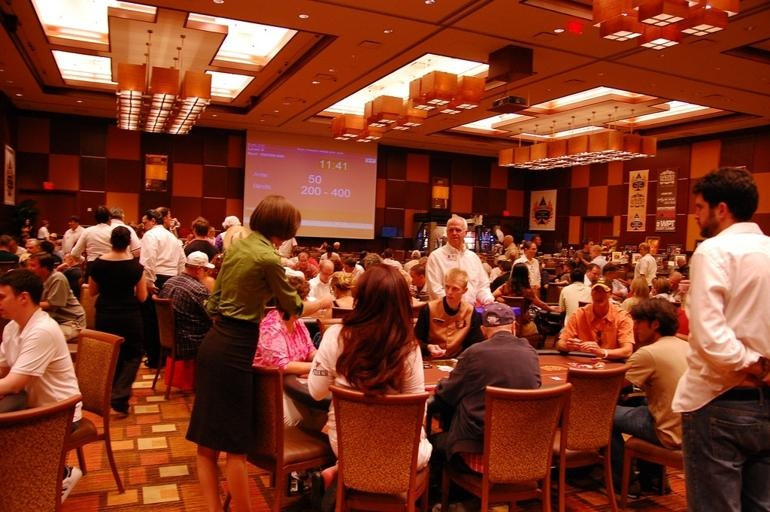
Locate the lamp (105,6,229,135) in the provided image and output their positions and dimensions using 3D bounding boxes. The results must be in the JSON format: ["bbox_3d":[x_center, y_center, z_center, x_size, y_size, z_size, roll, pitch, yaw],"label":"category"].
[{"bbox_3d":[-3.844,-3.239,9.425,1.382,1.012,2.206,3,-12,-19],"label":"lamp"}]

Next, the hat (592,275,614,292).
[{"bbox_3d":[2.072,0.253,5.200,0.175,0.127,0.258,5,-13,33],"label":"hat"}]

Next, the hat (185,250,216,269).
[{"bbox_3d":[-2.019,0.041,5.974,0.290,0.148,0.195,2,7,-36],"label":"hat"}]

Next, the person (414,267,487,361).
[{"bbox_3d":[0.572,0.557,4.781,0.655,0.826,0.576,3,14,4],"label":"person"}]

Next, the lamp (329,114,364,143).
[{"bbox_3d":[-0.782,-2.822,12.129,0.614,0.448,0.650,-1,0,41],"label":"lamp"}]

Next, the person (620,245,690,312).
[{"bbox_3d":[4.447,0.337,9.015,1.116,1.073,1.118,-2,0,-40],"label":"person"}]

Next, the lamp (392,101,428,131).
[{"bbox_3d":[0.594,-2.724,10.889,0.610,0.428,0.646,-2,-5,-33],"label":"lamp"}]

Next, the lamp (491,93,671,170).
[{"bbox_3d":[4.407,-2.768,12.762,2.727,1.174,3.332,4,3,-13],"label":"lamp"}]

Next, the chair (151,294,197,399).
[{"bbox_3d":[-2.273,1.016,6.096,0.613,0.873,0.588,8,-5,-29],"label":"chair"}]

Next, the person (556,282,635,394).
[{"bbox_3d":[2.031,0.643,5.196,0.788,0.746,0.733,-2,3,-44],"label":"person"}]

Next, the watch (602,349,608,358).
[{"bbox_3d":[1.950,0.868,4.835,0.059,0.029,0.076,1,16,24],"label":"watch"}]

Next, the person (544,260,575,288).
[{"bbox_3d":[3.619,0.397,11.332,0.334,0.400,0.719,-13,2,26],"label":"person"}]

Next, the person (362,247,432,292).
[{"bbox_3d":[0.272,0.222,8.248,0.666,0.303,0.872,3,4,-33],"label":"person"}]

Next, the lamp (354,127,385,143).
[{"bbox_3d":[-0.367,-2.656,11.847,0.567,0.126,0.571,-4,-5,18],"label":"lamp"}]
